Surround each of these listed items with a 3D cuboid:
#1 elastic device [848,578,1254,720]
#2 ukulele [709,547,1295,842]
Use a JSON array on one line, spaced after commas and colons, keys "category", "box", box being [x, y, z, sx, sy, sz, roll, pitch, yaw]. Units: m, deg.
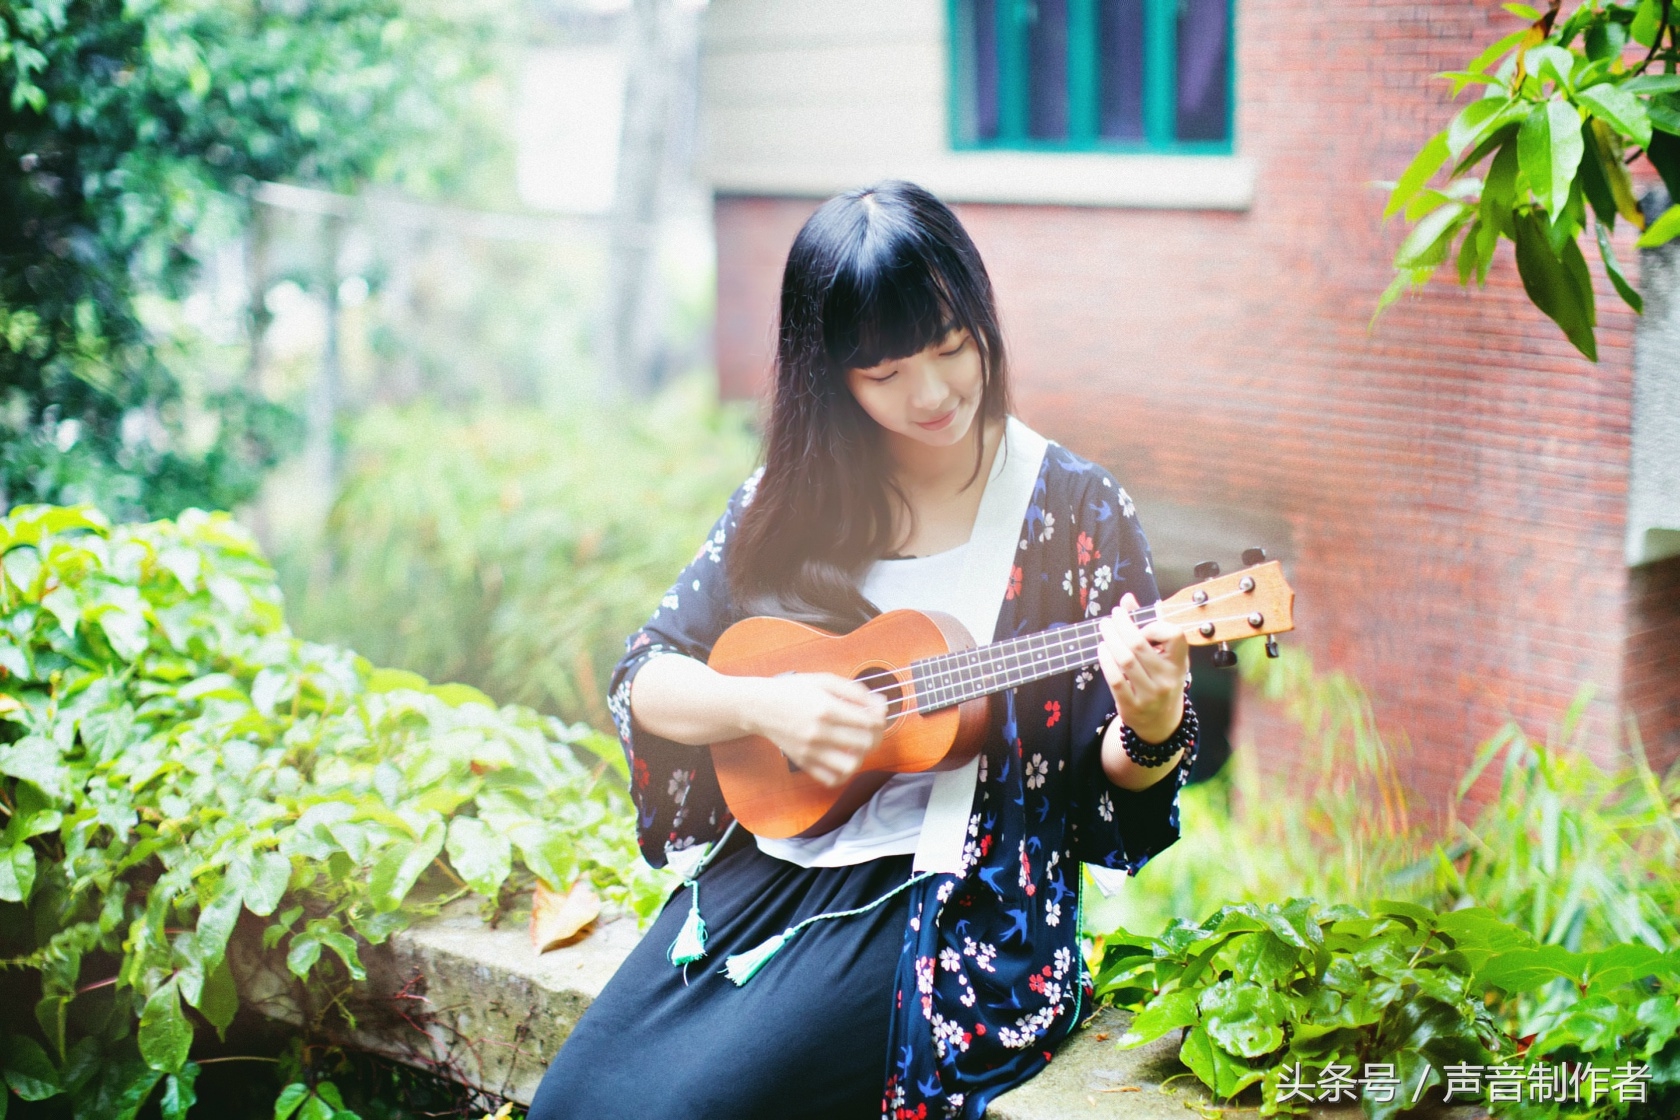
[{"category": "elastic device", "box": [0.435, 0.185, 2.888, 0.771, 0.295, 0.093, -15, -12, 19]}, {"category": "ukulele", "box": [0.237, 0.251, 2.909, 1.315, 0.539, 0.186, -16, -12, 17]}]
